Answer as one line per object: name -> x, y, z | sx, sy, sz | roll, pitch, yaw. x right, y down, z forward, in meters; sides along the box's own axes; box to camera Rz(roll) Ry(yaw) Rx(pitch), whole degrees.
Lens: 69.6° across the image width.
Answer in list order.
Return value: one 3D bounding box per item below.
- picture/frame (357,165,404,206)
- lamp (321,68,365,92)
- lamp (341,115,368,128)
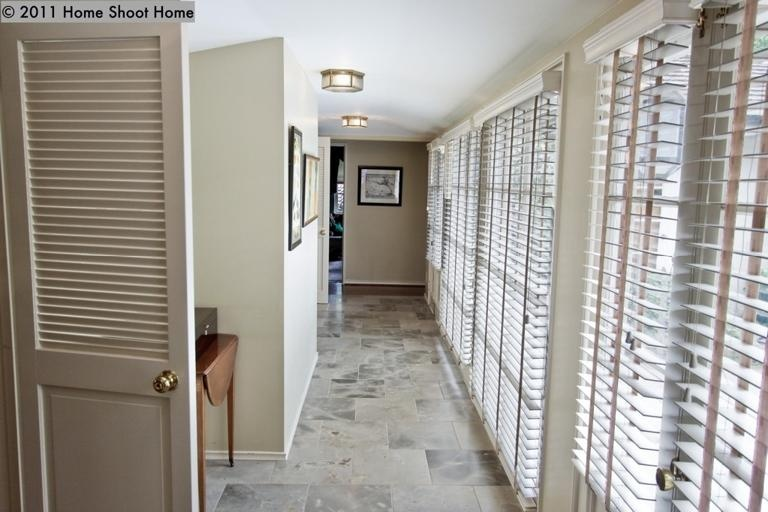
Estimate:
picture/frame -> -0.072, -1.105, 8.425 | 0.633, 0.554, 0.047 | 0, 9, 0
lamp -> -0.316, -1.308, 4.102 | 0.325, 0.143, 0.204 | 0, 11, -6
lamp -> -0.331, -1.570, 6.485 | 0.201, 0.079, 0.191 | 0, 4, 5
